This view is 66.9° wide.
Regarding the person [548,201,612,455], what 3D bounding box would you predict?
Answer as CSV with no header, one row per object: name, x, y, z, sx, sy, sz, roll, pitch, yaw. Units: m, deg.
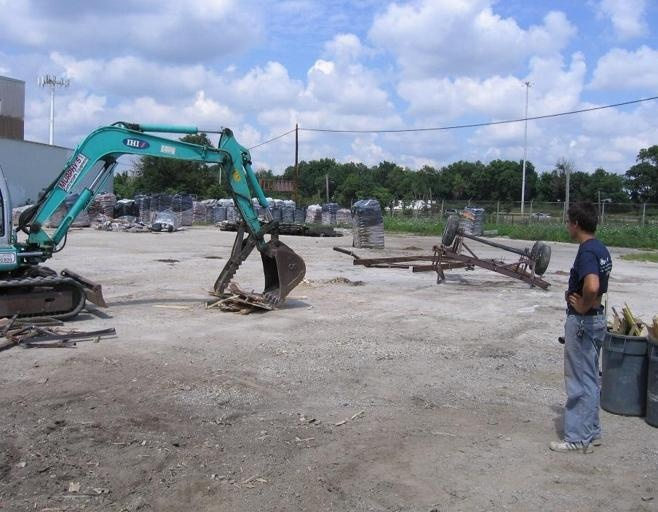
person,2.360,0.627,4.629,0.467,2.224,0.716,6,9,25

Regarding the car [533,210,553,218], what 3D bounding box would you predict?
car,22.151,-4.310,51.875,1.299,0.640,2.071,3,11,-2
